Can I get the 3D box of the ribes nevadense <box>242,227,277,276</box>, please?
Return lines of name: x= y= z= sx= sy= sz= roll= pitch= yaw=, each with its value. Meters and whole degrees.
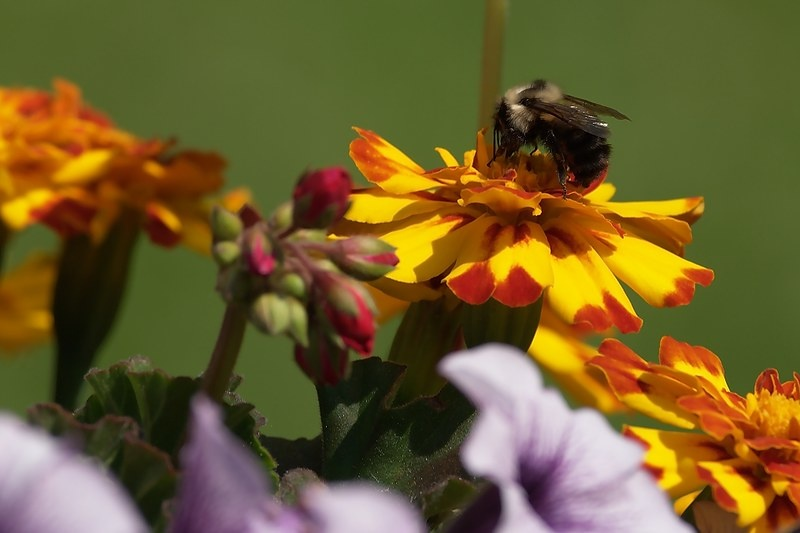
ribes nevadense: x=-0.058 y=-0.005 z=0.362 sx=0.013 sy=0.021 sz=0.007 roll=-12 pitch=-5 yaw=5

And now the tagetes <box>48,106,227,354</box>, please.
tagetes: x=-0.151 y=-0.021 z=0.532 sx=0.109 sy=0.118 sz=0.112 roll=15 pitch=-13 yaw=8

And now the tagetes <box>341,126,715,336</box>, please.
tagetes: x=0.077 y=-0.005 z=0.574 sx=0.152 sy=0.175 sz=0.222 roll=-2 pitch=8 yaw=-1
